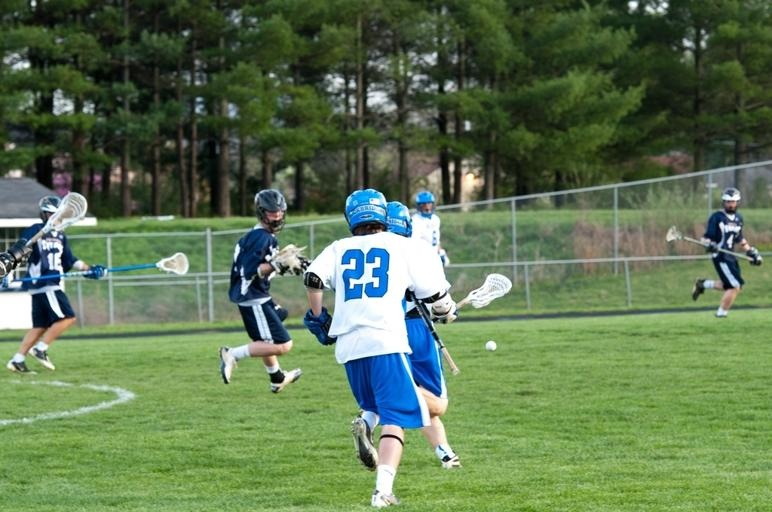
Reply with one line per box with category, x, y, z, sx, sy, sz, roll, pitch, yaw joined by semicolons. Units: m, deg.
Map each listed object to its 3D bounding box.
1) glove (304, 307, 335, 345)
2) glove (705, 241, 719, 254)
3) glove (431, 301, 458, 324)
glove;-1.599;1.694;34.720;0.687;0.902;0.450;-36;-3;14
glove;9.549;-0.251;42.295;0.365;0.317;0.251;-2;-1;-33
glove;1.405;1.347;34.781;0.528;0.484;0.469;-25;11;17
